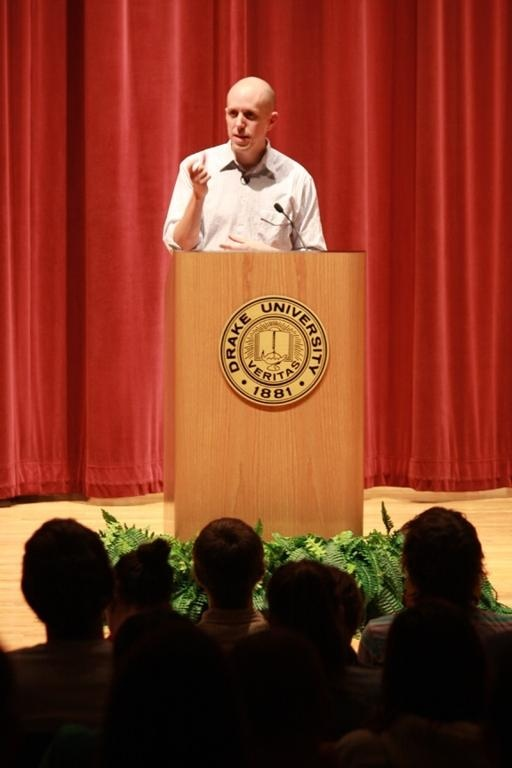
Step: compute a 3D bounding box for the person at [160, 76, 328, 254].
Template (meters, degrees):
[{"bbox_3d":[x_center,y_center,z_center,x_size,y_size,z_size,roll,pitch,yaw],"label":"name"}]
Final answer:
[{"bbox_3d":[-0.038,-0.602,2.607,0.533,0.887,0.414,0,11,-21],"label":"person"}]
